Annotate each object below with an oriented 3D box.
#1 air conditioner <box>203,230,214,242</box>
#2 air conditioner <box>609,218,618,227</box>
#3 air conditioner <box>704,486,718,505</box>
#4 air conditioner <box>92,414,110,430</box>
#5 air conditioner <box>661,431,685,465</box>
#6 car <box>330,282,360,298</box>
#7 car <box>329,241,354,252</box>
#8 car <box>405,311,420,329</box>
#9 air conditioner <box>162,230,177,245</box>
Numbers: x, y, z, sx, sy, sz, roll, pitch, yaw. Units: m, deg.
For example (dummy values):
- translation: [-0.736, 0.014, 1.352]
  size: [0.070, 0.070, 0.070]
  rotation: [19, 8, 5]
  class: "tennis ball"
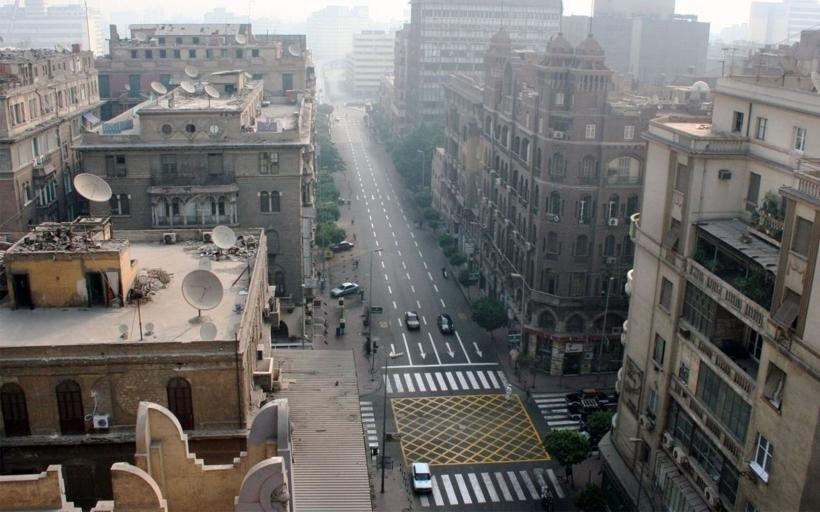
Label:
- translation: [-24.689, -2.440, 107.167]
  size: [1.402, 1.340, 1.344]
  rotation: [-1, 14, -4]
  class: "air conditioner"
- translation: [29.898, -5.103, 128.736]
  size: [1.693, 1.576, 0.889]
  rotation: [-1, 9, -1]
  class: "air conditioner"
- translation: [30.447, 23.966, 88.393]
  size: [0.579, 1.490, 1.487]
  rotation: [-3, 39, -10]
  class: "air conditioner"
- translation: [-29.709, 15.767, 84.298]
  size: [1.265, 1.207, 0.671]
  rotation: [2, 26, -8]
  class: "air conditioner"
- translation: [28.199, 20.415, 93.595]
  size: [0.727, 2.367, 3.838]
  rotation: [-5, 12, -12]
  class: "air conditioner"
- translation: [-11.721, 6.014, 160.176]
  size: [5.159, 1.689, 2.342]
  rotation: [-7, 22, -30]
  class: "car"
- translation: [-13.923, -2.187, 181.074]
  size: [1.835, 2.279, 5.986]
  rotation: [8, 16, 42]
  class: "car"
- translation: [0.505, 10.894, 148.447]
  size: [2.584, 2.191, 4.384]
  rotation: [-3, 11, 0]
  class: "car"
- translation: [-29.038, -2.289, 106.364]
  size: [1.572, 1.145, 1.545]
  rotation: [0, 8, -1]
  class: "air conditioner"
